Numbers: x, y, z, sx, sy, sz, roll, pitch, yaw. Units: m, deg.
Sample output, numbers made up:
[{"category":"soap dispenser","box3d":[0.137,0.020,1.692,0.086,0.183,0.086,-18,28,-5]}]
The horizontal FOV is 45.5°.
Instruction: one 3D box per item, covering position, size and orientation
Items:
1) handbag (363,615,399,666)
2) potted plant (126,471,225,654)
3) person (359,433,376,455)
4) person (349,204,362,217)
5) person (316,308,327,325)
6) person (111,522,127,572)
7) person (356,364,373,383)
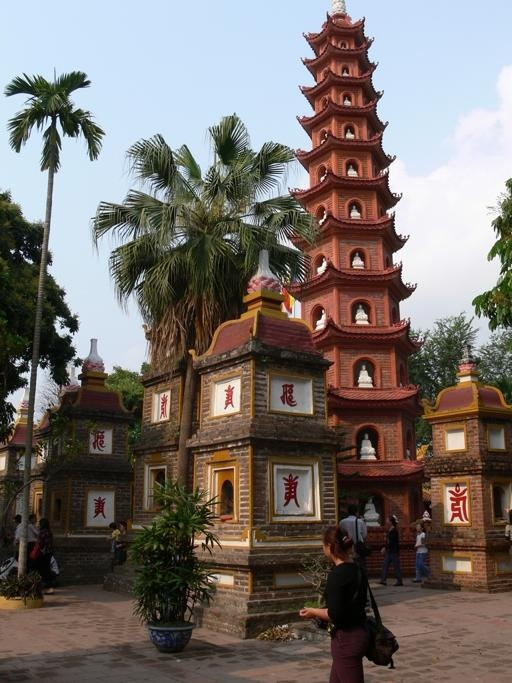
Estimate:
[{"category":"handbag","box3d":[0.723,1.719,3.520,0.167,0.294,0.301,-10,-24,13]},{"category":"potted plant","box3d":[-0.986,2.726,7.633,1.007,1.887,2.007,1,-16,-4]},{"category":"person","box3d":[3.794,3.654,21.324,0.632,0.857,0.601,3,-20,-9]},{"category":"person","box3d":[3.840,-5.106,23.840,0.464,0.733,0.323,1,-16,-3]},{"category":"person","box3d":[2.466,-0.879,23.102,0.380,0.859,0.806,-2,-16,5]},{"category":"person","box3d":[-3.392,5.086,15.177,0.379,1.110,1.767,3,-16,-12]},{"category":"person","box3d":[3.901,1.154,22.092,0.527,0.879,0.330,6,-24,-14]}]
